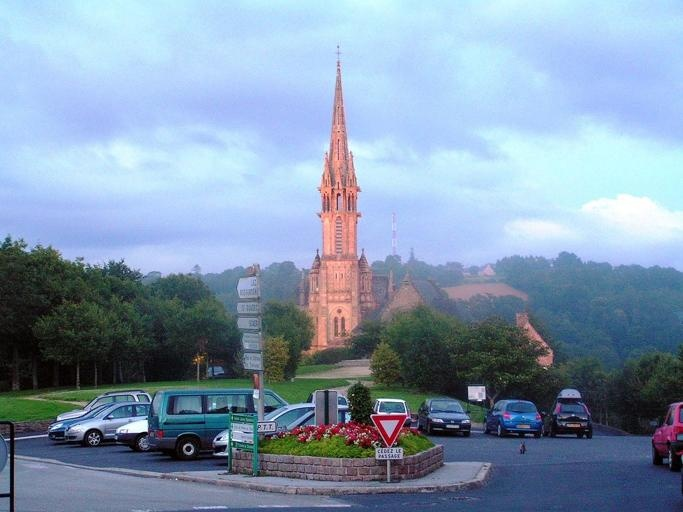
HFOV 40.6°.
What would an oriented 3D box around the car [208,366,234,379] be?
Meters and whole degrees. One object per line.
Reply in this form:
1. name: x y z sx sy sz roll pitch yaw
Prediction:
1. car: -14.816 14.178 112.569 2.467 1.613 7.784 -1 -9 1
